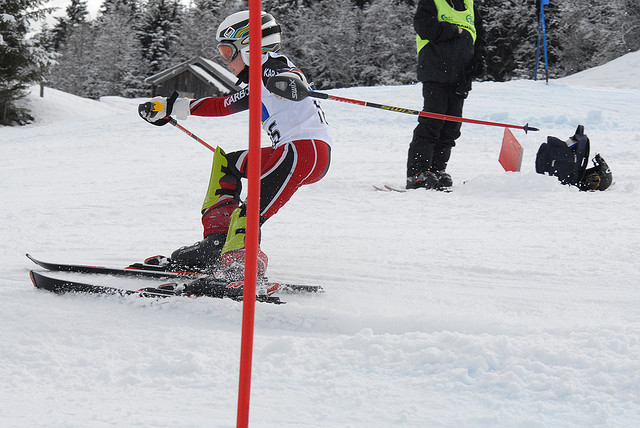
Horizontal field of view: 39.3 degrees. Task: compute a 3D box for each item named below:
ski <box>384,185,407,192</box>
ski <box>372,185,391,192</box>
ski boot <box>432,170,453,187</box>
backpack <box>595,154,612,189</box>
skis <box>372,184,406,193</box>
[{"bbox_3d":[0.973,-0.332,11.609,0.210,0.038,0.054,15,33,32],"label":"ski"},{"bbox_3d":[0.807,-0.335,11.550,0.209,0.033,0.034,17,62,19],"label":"ski"},{"bbox_3d":[1.605,-0.465,11.664,0.160,0.096,0.247,11,19,-37],"label":"ski boot"},{"bbox_3d":[3.620,-0.546,11.415,0.151,0.382,0.253,-12,19,-8],"label":"backpack"},{"bbox_3d":[0.867,-0.313,11.565,0.489,0.097,0.069,17,59,39],"label":"skis"}]
